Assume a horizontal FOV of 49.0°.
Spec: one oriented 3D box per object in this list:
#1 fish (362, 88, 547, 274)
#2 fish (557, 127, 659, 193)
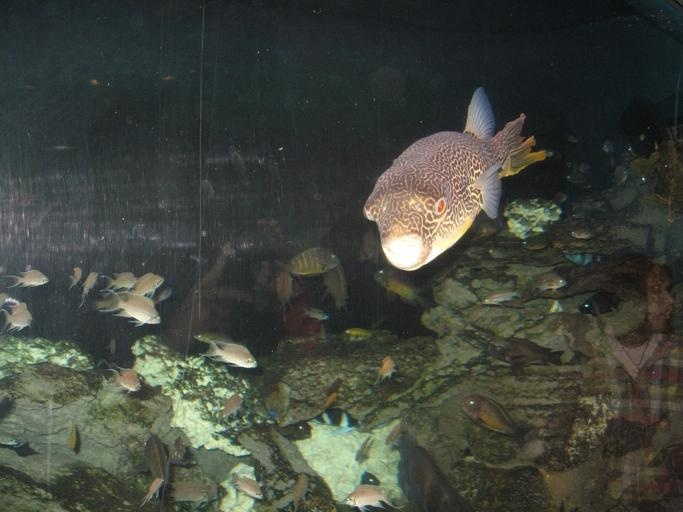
[{"bbox_3d":[0.757,-0.449,4.892,0.630,0.594,1.331,20,49,35],"label":"fish"},{"bbox_3d":[1.787,-0.635,4.957,0.576,0.428,0.067,-37,12,-3],"label":"fish"}]
